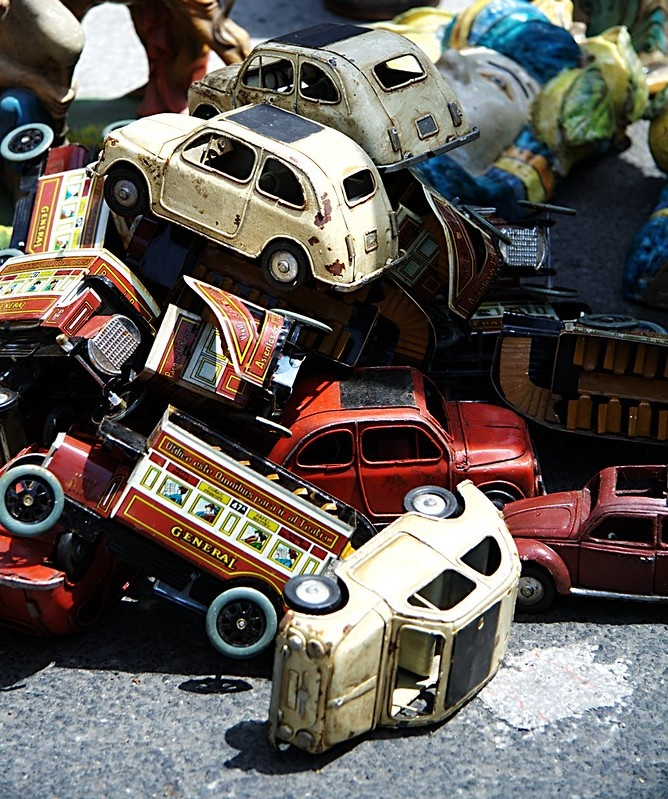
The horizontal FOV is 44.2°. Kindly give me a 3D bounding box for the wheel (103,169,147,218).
[{"bbox_3d":[-2.203,-2.200,8.711,0.495,0.427,0.150,25,27,13],"label":"wheel"}]

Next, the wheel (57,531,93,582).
[{"bbox_3d":[-2.211,1.319,6.969,0.125,0.332,0.376,-8,40,29],"label":"wheel"}]

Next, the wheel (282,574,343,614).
[{"bbox_3d":[-0.139,1.365,5.771,0.285,0.056,0.252,-1,25,-8],"label":"wheel"}]

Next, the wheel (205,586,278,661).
[{"bbox_3d":[-0.750,1.816,6.760,0.654,0.561,0.178,18,-12,2],"label":"wheel"}]

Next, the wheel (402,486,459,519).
[{"bbox_3d":[0.826,0.882,7.007,0.476,0.155,0.495,7,12,-2],"label":"wheel"}]

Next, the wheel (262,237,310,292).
[{"bbox_3d":[-0.476,-1.367,8.165,0.461,0.393,0.136,23,27,12],"label":"wheel"}]

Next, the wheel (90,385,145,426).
[{"bbox_3d":[-1.992,0.085,7.677,0.464,0.368,0.372,4,14,-21],"label":"wheel"}]
